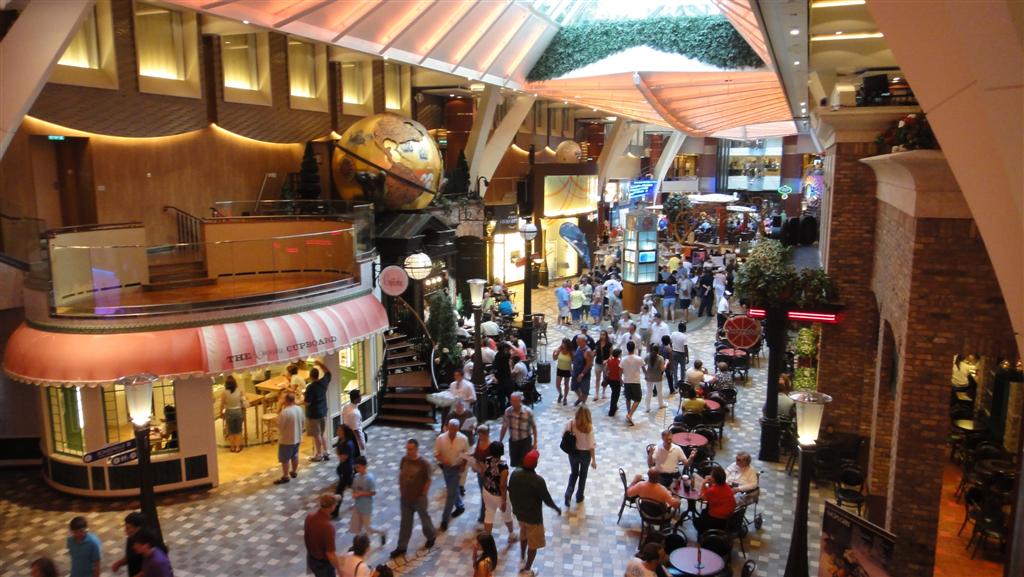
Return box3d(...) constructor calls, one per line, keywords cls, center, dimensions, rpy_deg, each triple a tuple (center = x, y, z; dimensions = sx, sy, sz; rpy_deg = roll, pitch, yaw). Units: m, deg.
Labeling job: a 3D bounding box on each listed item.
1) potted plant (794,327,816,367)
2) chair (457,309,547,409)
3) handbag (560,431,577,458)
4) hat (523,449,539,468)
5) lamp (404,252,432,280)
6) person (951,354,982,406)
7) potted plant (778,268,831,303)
box3d(cls="potted plant", center=(8.451, 1.718, 19.949), dimensions=(0.583, 1.191, 1.125), rpy_deg=(3, 10, 22))
box3d(cls="chair", center=(-0.612, 2.325, 20.208), dimensions=(2.420, 1.047, 3.466), rpy_deg=(4, 20, 14))
box3d(cls="handbag", center=(1.274, 3.468, 15.628), dimensions=(0.289, 0.645, 0.269), rpy_deg=(-2, 10, 0))
box3d(cls="hat", center=(0.376, 3.422, 13.834), dimensions=(0.321, 0.377, 0.344), rpy_deg=(10, 46, 6))
box3d(cls="lamp", center=(-2.694, -0.682, 20.176), dimensions=(0.853, 0.790, 0.854), rpy_deg=(7, 9, 34))
box3d(cls="person", center=(11.974, 2.319, 18.247), dimensions=(0.594, 1.088, 1.303), rpy_deg=(5, 11, 33))
box3d(cls="potted plant", center=(7.387, -0.105, 17.599), dimensions=(1.070, 0.625, 0.966), rpy_deg=(1, 0, -10))
